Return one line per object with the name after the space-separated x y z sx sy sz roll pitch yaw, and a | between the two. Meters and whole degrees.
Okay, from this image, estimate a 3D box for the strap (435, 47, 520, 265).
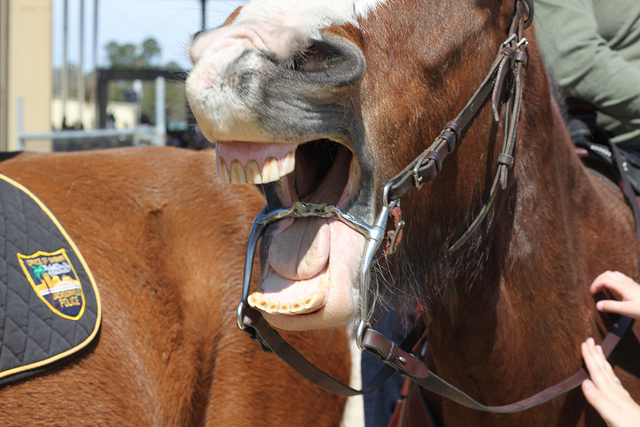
0.672 -0.254 4.387 0.239 0.879 0.255 -2 -12 -1 | strap

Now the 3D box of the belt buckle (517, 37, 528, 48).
0.826 -0.694 4.320 0.018 0.050 0.013 33 8 -9 | belt buckle

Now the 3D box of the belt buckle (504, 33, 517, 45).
0.777 -0.703 4.298 0.017 0.050 0.011 34 -20 20 | belt buckle

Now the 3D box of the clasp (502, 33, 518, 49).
0.772 -0.695 4.293 0.044 0.072 0.025 3 -1 15 | clasp

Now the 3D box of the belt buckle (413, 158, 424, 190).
0.379 -0.147 4.140 0.020 0.094 0.063 -6 14 18 | belt buckle

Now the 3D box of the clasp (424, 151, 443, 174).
0.454 -0.199 4.147 0.051 0.086 0.028 2 0 -3 | clasp
